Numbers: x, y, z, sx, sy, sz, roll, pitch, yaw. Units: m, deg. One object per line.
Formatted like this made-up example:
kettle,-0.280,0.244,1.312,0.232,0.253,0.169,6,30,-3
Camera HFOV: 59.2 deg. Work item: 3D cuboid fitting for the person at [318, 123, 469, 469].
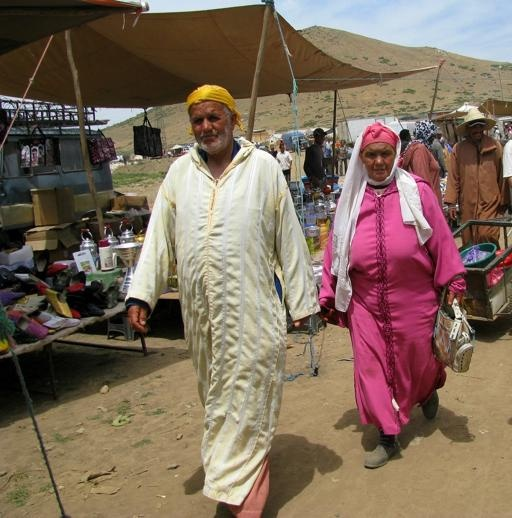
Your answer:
person,0.720,0.159,2.499,0.681,1.813,0.463,-9,7,-15

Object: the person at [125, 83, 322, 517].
person,-0.121,0.130,2.028,0.437,1.835,0.689,-1,9,44

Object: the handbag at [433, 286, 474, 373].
handbag,1.038,0.385,2.389,0.198,0.456,0.284,-5,7,20

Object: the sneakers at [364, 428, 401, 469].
sneakers,0.674,1.025,2.456,0.104,0.119,0.294,-4,-5,39
